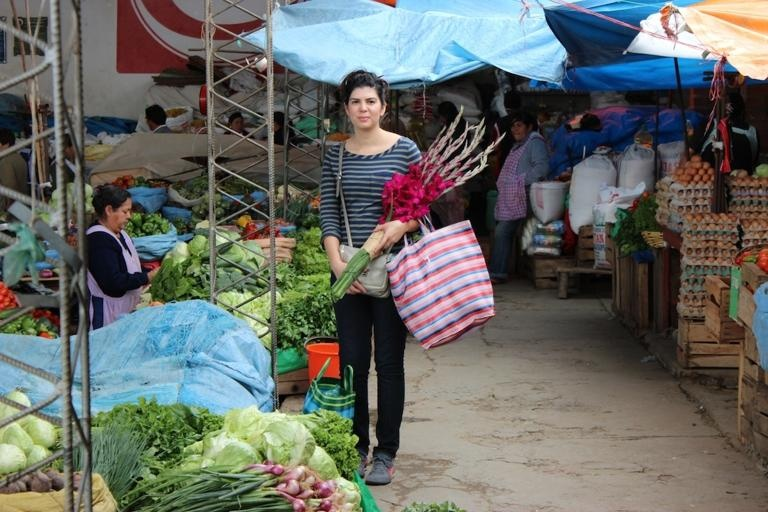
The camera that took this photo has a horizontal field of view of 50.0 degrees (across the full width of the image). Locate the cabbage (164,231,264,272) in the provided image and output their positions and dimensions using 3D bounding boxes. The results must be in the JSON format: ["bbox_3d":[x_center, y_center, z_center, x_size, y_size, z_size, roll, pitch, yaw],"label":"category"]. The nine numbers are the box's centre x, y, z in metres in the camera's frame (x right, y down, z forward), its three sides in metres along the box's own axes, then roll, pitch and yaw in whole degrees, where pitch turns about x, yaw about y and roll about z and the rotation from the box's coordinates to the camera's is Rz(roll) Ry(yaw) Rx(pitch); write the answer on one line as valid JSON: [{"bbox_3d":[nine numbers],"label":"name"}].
[{"bbox_3d":[-1.610,-0.051,7.897,0.712,0.496,0.735,1,-11,-5],"label":"cabbage"}]

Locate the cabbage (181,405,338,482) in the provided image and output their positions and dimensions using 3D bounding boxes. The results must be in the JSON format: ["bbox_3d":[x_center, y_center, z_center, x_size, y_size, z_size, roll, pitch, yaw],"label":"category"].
[{"bbox_3d":[-0.729,1.118,4.778,0.884,0.386,0.441,-6,14,-21],"label":"cabbage"}]

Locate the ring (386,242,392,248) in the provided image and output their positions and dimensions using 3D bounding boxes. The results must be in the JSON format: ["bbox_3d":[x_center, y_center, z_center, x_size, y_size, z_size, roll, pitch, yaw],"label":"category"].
[{"bbox_3d":[0.031,-0.074,5.387,0.030,0.012,0.040,-12,-7,-18],"label":"ring"}]

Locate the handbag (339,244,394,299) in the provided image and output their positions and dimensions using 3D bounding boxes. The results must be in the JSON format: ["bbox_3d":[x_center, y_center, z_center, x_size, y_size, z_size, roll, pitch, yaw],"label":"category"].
[{"bbox_3d":[-0.106,0.097,5.365,0.338,0.301,0.172,9,3,20],"label":"handbag"}]

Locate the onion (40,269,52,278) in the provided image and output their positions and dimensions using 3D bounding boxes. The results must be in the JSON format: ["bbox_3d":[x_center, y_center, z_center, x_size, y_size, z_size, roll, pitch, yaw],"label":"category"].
[{"bbox_3d":[-3.337,0.173,8.117,0.099,0.050,0.094,0,2,-11],"label":"onion"}]

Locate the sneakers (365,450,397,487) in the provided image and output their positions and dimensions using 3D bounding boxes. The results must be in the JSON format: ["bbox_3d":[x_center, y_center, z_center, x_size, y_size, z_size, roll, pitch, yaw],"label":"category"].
[{"bbox_3d":[-0.010,1.463,5.696,0.162,0.156,0.425,3,0,10],"label":"sneakers"}]

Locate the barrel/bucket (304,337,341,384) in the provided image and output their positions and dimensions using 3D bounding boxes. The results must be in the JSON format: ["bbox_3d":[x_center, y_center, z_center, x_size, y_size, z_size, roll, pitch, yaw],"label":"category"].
[{"bbox_3d":[-0.497,0.798,6.672,0.444,0.297,0.435,0,2,0],"label":"barrel/bucket"}]

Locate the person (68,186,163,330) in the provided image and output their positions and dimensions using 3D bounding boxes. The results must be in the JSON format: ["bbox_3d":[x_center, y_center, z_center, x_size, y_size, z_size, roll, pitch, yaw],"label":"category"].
[{"bbox_3d":[-2.278,-0.011,6.831,0.587,1.151,0.446,-12,18,-37],"label":"person"}]

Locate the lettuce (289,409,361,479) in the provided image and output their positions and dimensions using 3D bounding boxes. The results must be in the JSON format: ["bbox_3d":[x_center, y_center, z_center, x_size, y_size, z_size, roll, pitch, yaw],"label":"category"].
[{"bbox_3d":[-0.363,1.086,4.957,0.286,0.458,0.333,0,4,7],"label":"lettuce"}]
